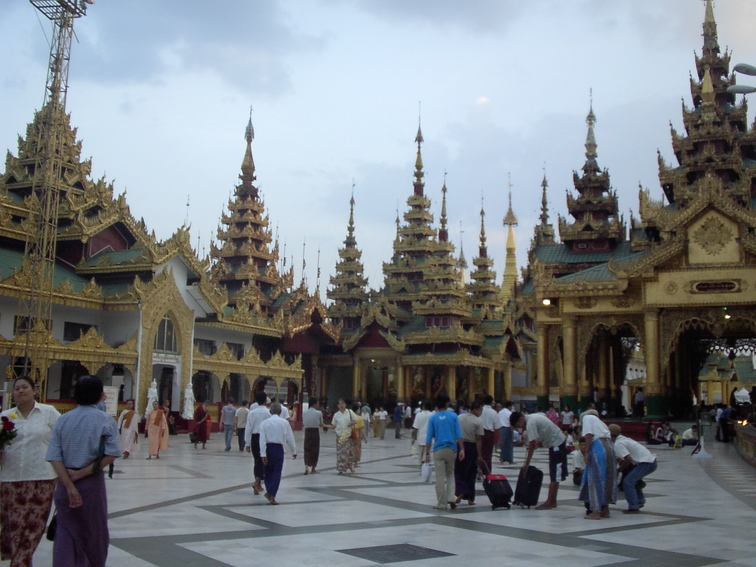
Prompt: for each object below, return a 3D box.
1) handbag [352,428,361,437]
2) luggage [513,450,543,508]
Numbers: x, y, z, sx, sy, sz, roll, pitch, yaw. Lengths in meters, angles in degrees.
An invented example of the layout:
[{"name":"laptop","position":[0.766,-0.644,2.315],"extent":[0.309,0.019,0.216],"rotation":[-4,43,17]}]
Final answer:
[{"name":"handbag","position":[-0.467,3.521,22.285],"extent":[0.186,0.310,0.302],"rotation":[2,-12,-14]},{"name":"luggage","position":[2.796,3.763,17.611],"extent":[0.380,0.803,0.483],"rotation":[9,3,-11]}]
